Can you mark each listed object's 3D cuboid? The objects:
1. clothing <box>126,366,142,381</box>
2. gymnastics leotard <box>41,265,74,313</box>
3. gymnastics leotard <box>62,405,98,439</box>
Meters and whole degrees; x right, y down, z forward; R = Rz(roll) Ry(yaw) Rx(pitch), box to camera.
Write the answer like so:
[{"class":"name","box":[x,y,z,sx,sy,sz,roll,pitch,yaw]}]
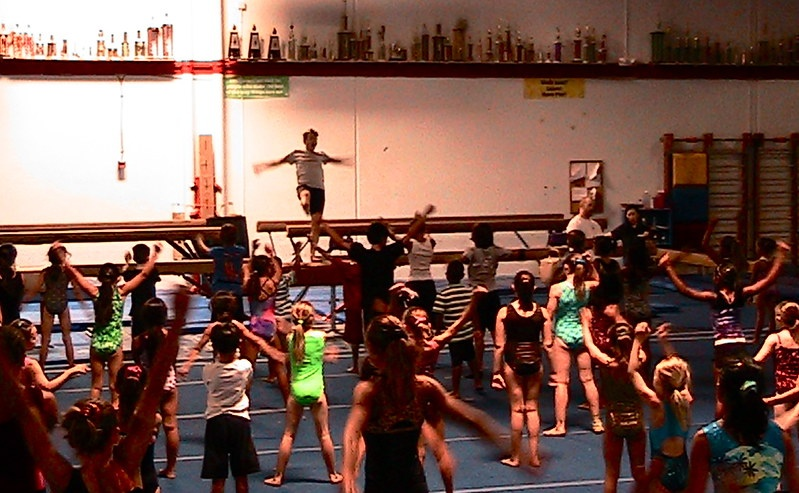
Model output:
[{"class":"clothing","box":[-3.277,1.555,11.416,0.154,0.160,0.155,4,-4,-29]},{"class":"gymnastics leotard","box":[-5.744,0.732,15.455,0.486,0.753,0.371,9,2,-32]},{"class":"gymnastics leotard","box":[-3.613,1.948,10.363,0.314,0.364,0.165,13,-16,-6]}]
